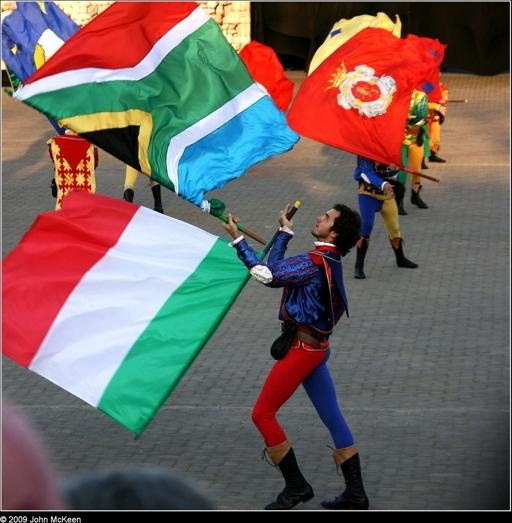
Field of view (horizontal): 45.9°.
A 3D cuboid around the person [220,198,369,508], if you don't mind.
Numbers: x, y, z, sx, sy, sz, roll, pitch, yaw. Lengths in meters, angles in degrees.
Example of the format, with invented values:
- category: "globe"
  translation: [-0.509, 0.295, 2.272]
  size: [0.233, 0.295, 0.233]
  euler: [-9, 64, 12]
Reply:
- category: "person"
  translation: [0.295, 0.641, 3.616]
  size: [0.772, 1.933, 1.243]
  euler: [-4, 33, 9]

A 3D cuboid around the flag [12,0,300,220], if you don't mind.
- category: "flag"
  translation: [-0.592, -1.045, 3.873]
  size: [1.353, 1.140, 0.965]
  euler: [-30, 37, -34]
